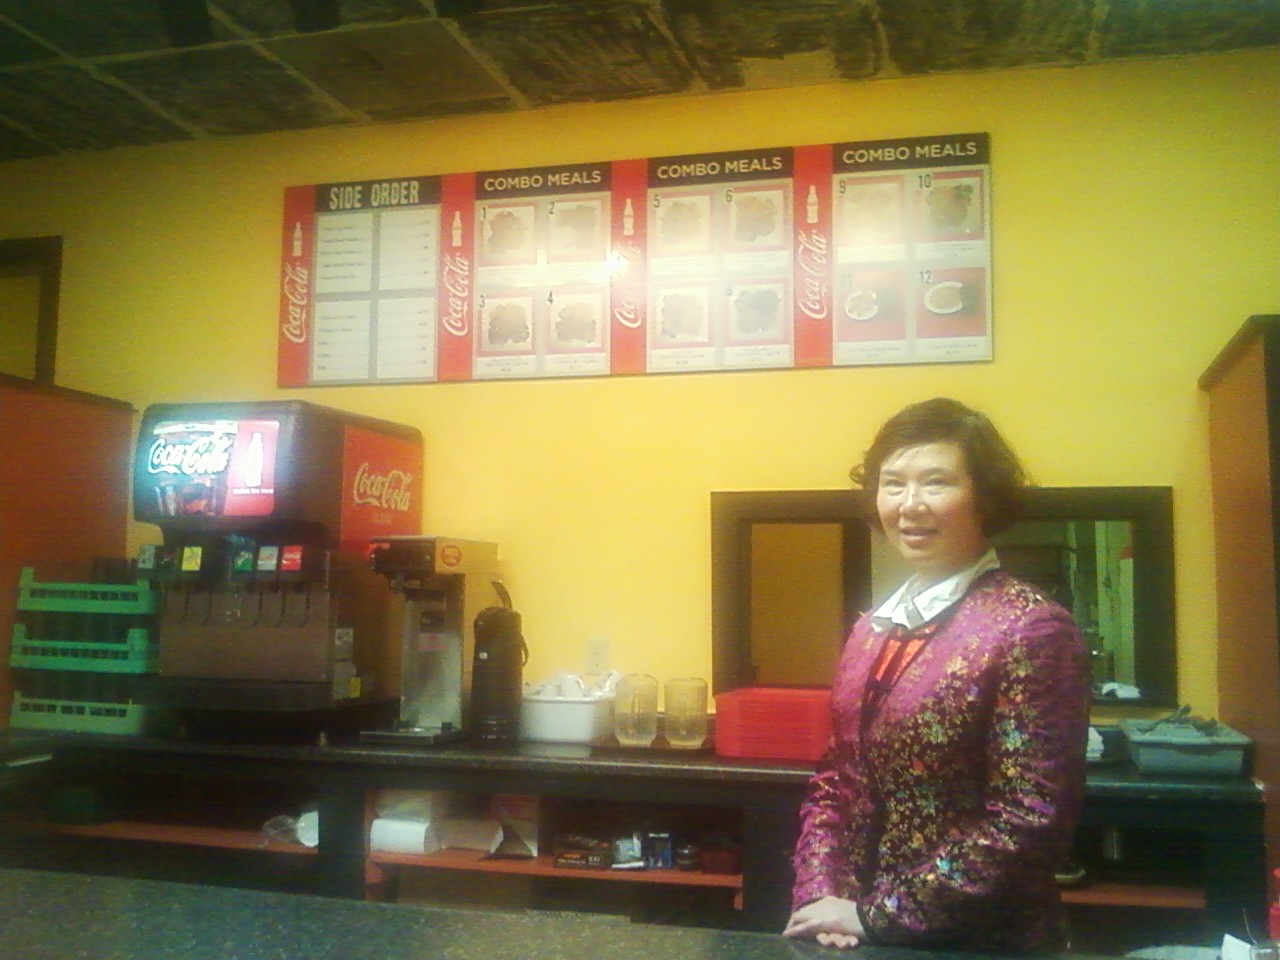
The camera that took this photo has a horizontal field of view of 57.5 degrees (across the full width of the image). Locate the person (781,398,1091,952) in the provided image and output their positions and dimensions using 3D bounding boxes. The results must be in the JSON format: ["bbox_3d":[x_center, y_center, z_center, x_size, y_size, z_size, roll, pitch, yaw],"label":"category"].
[{"bbox_3d":[0.717,0.432,2.834,0.698,1.287,0.618,0,-3,25],"label":"person"}]

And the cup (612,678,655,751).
[{"bbox_3d":[-0.026,0.814,4.007,0.152,0.242,0.155,-1,-33,-1],"label":"cup"}]

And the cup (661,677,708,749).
[{"bbox_3d":[0.157,0.788,4.000,0.156,0.229,0.147,1,-3,0],"label":"cup"}]

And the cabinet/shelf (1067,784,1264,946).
[{"bbox_3d":[1.563,1.144,3.535,0.530,0.543,0.358,1,-2,4],"label":"cabinet/shelf"}]

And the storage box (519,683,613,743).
[{"bbox_3d":[-0.257,0.796,4.004,0.208,0.119,0.198,1,-5,2],"label":"storage box"}]
